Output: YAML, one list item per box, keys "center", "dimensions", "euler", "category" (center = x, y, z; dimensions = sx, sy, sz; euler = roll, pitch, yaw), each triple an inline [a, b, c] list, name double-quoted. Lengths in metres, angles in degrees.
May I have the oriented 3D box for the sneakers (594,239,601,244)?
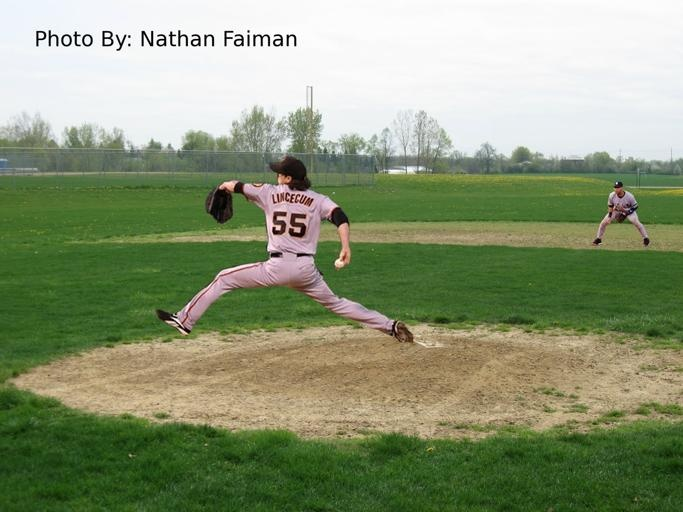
- center: [6.660, -0.390, 23.300]
  dimensions: [0.184, 0.152, 0.338]
  euler: [3, 8, 12]
  category: "sneakers"

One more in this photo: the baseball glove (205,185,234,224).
- center: [-1.710, -0.717, 12.231]
  dimensions: [0.385, 0.472, 0.204]
  euler: [-5, 14, -21]
  category: "baseball glove"

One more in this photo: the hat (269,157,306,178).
- center: [-0.703, -1.157, 11.617]
  dimensions: [0.430, 0.206, 0.266]
  euler: [11, 33, 8]
  category: "hat"

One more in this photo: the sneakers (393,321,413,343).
- center: [0.771, 1.013, 11.754]
  dimensions: [0.209, 0.327, 0.115]
  euler: [-8, -32, -47]
  category: "sneakers"

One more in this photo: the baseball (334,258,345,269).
- center: [-0.033, 0.108, 11.421]
  dimensions: [0.172, 0.072, 0.206]
  euler: [1, 9, -3]
  category: "baseball"

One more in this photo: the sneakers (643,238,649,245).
- center: [7.951, -0.396, 23.367]
  dimensions: [0.187, 0.231, 0.140]
  euler: [-3, 2, 8]
  category: "sneakers"

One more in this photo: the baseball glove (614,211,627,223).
- center: [7.343, -1.071, 23.572]
  dimensions: [0.184, 0.161, 0.297]
  euler: [-37, 0, -6]
  category: "baseball glove"
